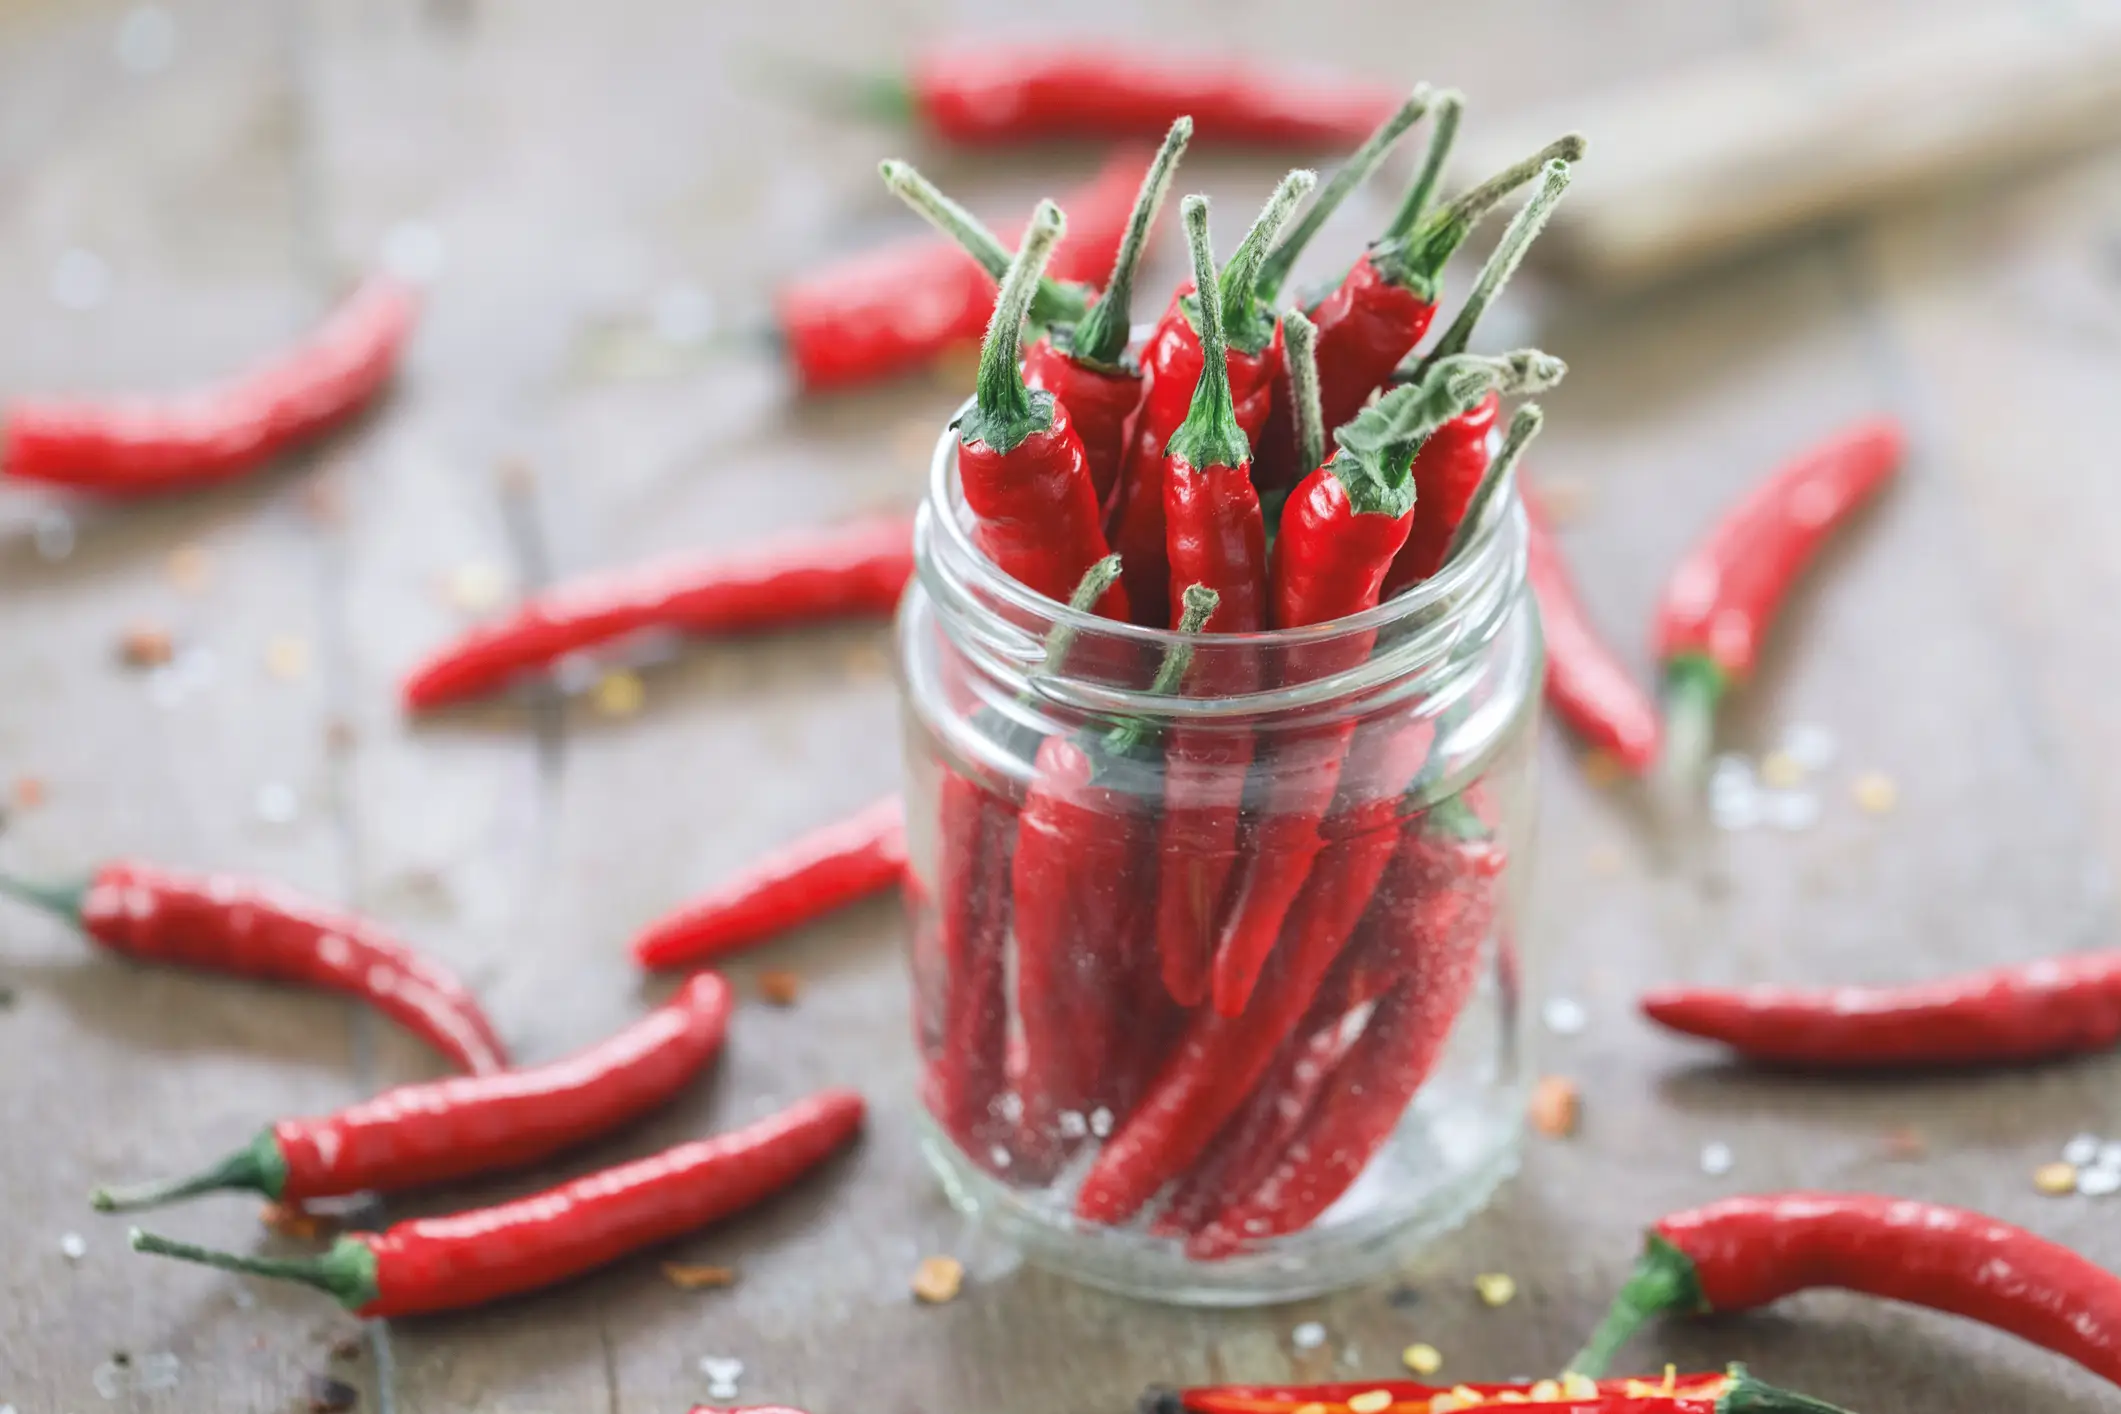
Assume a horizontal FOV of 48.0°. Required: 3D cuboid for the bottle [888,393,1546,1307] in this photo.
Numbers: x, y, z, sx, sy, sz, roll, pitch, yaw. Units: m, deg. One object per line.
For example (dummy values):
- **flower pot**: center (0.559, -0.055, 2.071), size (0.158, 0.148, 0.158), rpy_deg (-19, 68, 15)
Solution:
- **bottle**: center (0.076, 0.044, 1.928), size (0.528, 0.675, 0.572), rpy_deg (-1, 35, 1)
